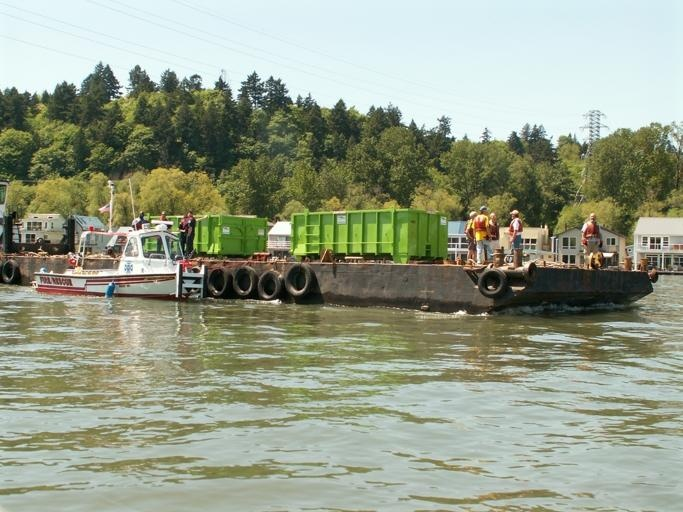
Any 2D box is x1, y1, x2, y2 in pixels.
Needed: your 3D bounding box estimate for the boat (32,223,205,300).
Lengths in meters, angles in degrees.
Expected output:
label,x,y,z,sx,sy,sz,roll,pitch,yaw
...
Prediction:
label,x,y,z,sx,sy,sz,roll,pitch,yaw
boat,-8.577,0.348,41.760,6.819,2.728,2.705,-2,-3,31
